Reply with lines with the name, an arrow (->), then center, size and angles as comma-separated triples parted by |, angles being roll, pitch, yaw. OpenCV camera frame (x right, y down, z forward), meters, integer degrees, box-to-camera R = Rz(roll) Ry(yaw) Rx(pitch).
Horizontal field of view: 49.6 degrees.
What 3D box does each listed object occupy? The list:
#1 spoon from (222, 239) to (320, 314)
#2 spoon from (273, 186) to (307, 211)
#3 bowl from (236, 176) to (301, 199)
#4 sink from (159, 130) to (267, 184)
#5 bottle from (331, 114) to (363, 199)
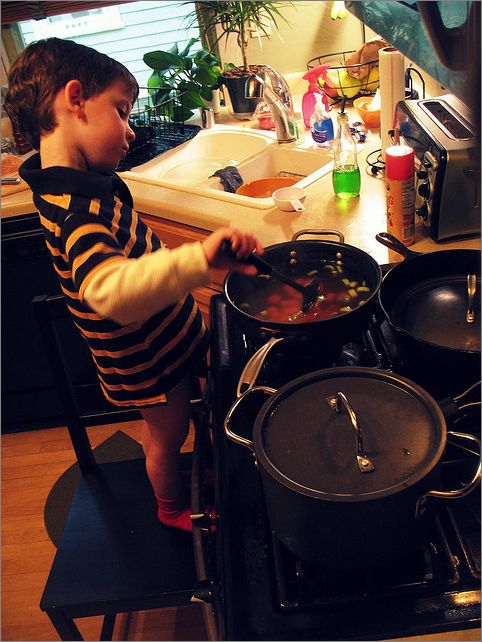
spoon -> 0.067, -0.073, 0.910 | 0.200, 0.082, 0.051 | 33, 40, -6
spoon -> 0.130, -0.321, 1.385 | 0.085, 0.056, 0.103 | -7, 29, 4
bowl -> 0.093, -0.449, 1.735 | 0.170, 0.045, 0.107 | -27, 32, -26
sink -> -0.114, -0.681, 2.154 | 0.312, 0.110, 0.478 | 14, 48, 22
bottle -> 0.285, -0.452, 1.417 | 0.072, 0.194, 0.189 | -2, 30, 13
